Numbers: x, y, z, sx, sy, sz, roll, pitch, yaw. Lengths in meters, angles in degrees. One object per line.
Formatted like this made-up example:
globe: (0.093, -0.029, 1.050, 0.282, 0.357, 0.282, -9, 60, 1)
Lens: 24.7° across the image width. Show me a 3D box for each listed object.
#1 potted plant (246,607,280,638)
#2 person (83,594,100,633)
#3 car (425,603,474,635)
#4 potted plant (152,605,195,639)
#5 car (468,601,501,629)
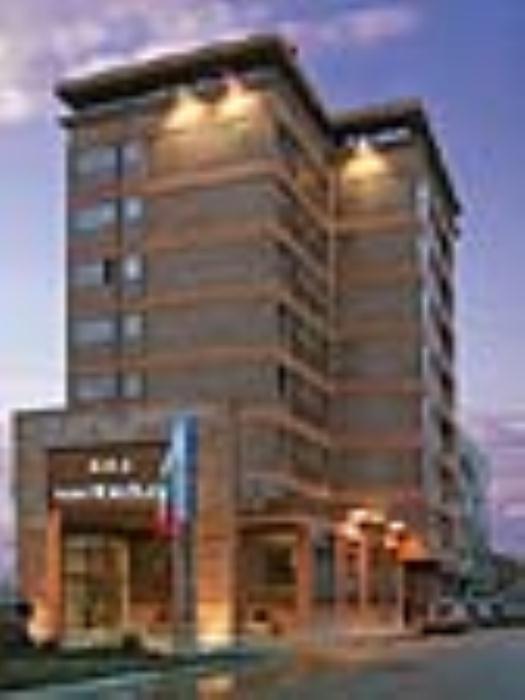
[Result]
potted plant: (-0.013, 9.320, 40.803, 1.151, 1.018, 1.009, 2, -12, -5)
person: (-5.561, 8.561, 38.717, 0.377, 1.207, 0.730, 1, -14, -7)
car: (7.579, 10.882, 48.158, 1.179, 0.685, 2.242, -5, -17, 14)
potted plant: (-3.061, 8.925, 38.577, 0.951, 0.874, 1.348, 0, -9, -4)
car: (10.858, 13.088, 58.827, 1.355, 0.891, 2.853, -4, -17, 14)
